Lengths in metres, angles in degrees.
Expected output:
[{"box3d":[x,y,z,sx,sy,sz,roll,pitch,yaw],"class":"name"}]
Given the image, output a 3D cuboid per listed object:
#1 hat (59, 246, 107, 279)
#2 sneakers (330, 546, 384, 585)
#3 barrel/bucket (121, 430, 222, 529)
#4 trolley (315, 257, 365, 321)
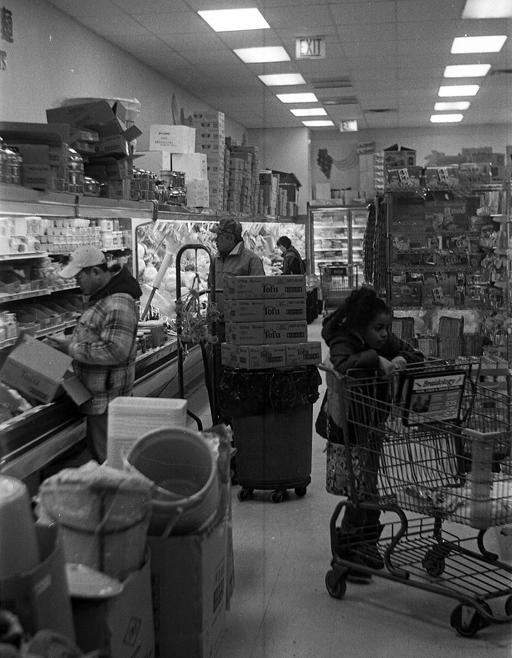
[{"box3d":[-0.973,-0.374,2.989,0.223,0.123,0.144,-16,22,-21],"class":"hat"},{"box3d":[0.465,1.070,2.442,0.215,0.217,0.183,-3,2,15],"class":"sneakers"},{"box3d":[-0.208,0.429,1.408,0.277,0.310,0.196,-2,2,-25],"class":"barrel/bucket"},{"box3d":[1.594,-0.705,10.419,0.627,1.204,0.864,0,10,10],"class":"trolley"}]
